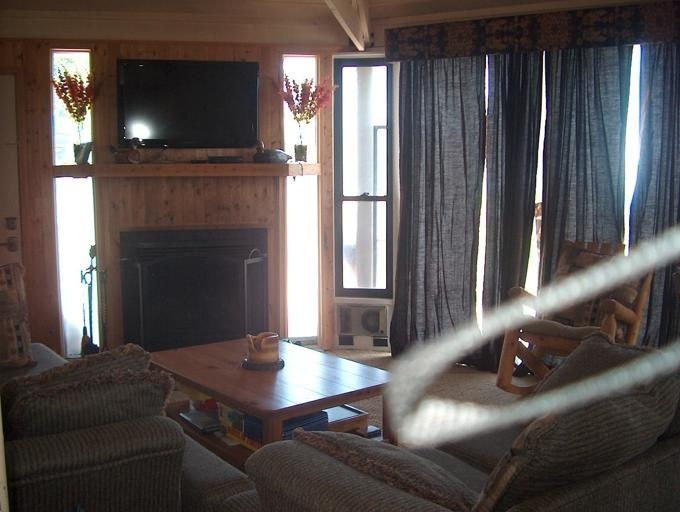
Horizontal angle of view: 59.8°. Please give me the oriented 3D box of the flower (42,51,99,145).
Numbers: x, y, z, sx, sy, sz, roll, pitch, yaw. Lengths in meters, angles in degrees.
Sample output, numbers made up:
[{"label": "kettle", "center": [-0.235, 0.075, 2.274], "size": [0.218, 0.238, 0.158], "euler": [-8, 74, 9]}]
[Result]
[{"label": "flower", "center": [-2.121, -1.295, 4.710], "size": [0.341, 0.758, 0.417], "euler": [-6, 8, -25]}]

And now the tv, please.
[{"label": "tv", "center": [-1.248, -1.264, 4.895], "size": [1.142, 0.714, 0.062], "euler": [-5, 27, -21]}]

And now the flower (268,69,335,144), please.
[{"label": "flower", "center": [-0.297, -1.292, 5.161], "size": [0.583, 0.509, 0.564], "euler": [1, 5, 1]}]

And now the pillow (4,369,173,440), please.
[{"label": "pillow", "center": [-0.826, 0.493, 1.975], "size": [0.524, 0.171, 0.060], "euler": [-5, 8, -21]}]

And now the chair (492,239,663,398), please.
[{"label": "chair", "center": [1.610, 0.421, 3.942], "size": [0.833, 1.046, 0.809], "euler": [6, 0, -34]}]

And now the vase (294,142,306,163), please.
[{"label": "vase", "center": [-0.332, -0.875, 4.999], "size": [0.090, 0.142, 0.074], "euler": [-4, 8, -15]}]

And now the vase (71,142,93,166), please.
[{"label": "vase", "center": [-2.066, -0.816, 4.702], "size": [0.255, 0.183, 0.134], "euler": [2, 8, 30]}]

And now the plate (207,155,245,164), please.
[{"label": "plate", "center": [-0.947, -0.799, 4.859], "size": [0.283, 0.071, 0.195], "euler": [-4, 8, -15]}]
